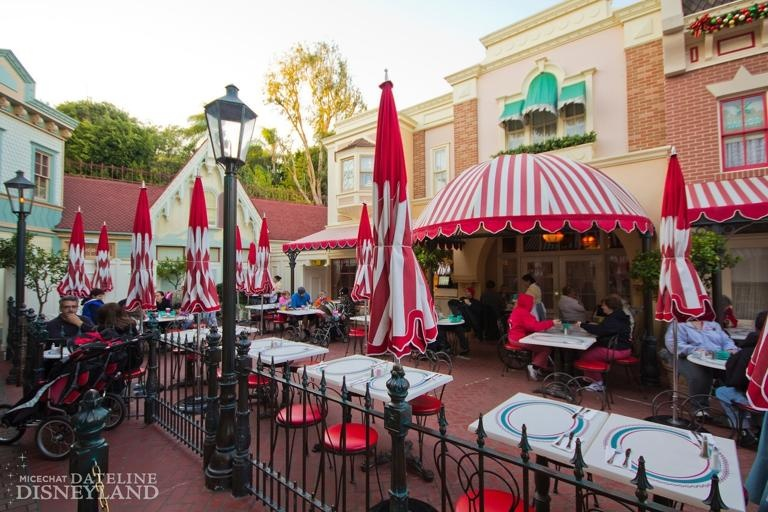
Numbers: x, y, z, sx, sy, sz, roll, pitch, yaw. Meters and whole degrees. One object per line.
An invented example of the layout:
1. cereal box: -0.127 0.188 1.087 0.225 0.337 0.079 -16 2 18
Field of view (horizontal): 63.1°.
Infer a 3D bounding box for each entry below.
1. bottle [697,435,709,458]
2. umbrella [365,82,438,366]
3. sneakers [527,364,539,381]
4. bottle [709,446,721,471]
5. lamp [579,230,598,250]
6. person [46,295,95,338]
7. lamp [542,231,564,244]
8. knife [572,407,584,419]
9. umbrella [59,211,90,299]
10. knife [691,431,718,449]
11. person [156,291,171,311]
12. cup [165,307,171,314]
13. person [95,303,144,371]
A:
1. bottle: 6.767 4.025 13.175 0.184 0.428 0.305 -2 -3 26
2. umbrella: 0.271 -0.843 13.643 1.333 6.055 0.522 -1 -2 -2
3. sneakers: 4.455 3.486 18.551 0.267 0.626 0.216 -20 -26 8
4. bottle: 6.883 4.222 12.926 0.210 0.507 0.420 -2 -3 28
5. lamp: 7.457 -0.578 22.777 0.553 0.837 0.586 -5 1 1
6. person: -8.773 1.844 17.397 1.397 1.517 0.760 4 -4 -18
7. lamp: 5.983 -0.663 21.933 0.736 0.314 2.929 -2 -3 16
8. knife: 4.311 3.478 13.838 0.143 0.202 0.364 -3 -4 45
9. umbrella: -10.463 -0.086 21.029 0.836 3.056 1.824 0 -2 -27
10. knife: 6.840 3.919 13.311 0.350 0.295 0.098 19 -16 -20
11. person: -8.285 1.698 23.294 0.442 1.076 0.380 -8 -14 16
12. cup: -7.896 1.993 22.713 0.154 0.185 0.162 -2 -1 0
13. person: -7.169 2.195 16.782 1.033 1.857 1.154 -13 6 -2
